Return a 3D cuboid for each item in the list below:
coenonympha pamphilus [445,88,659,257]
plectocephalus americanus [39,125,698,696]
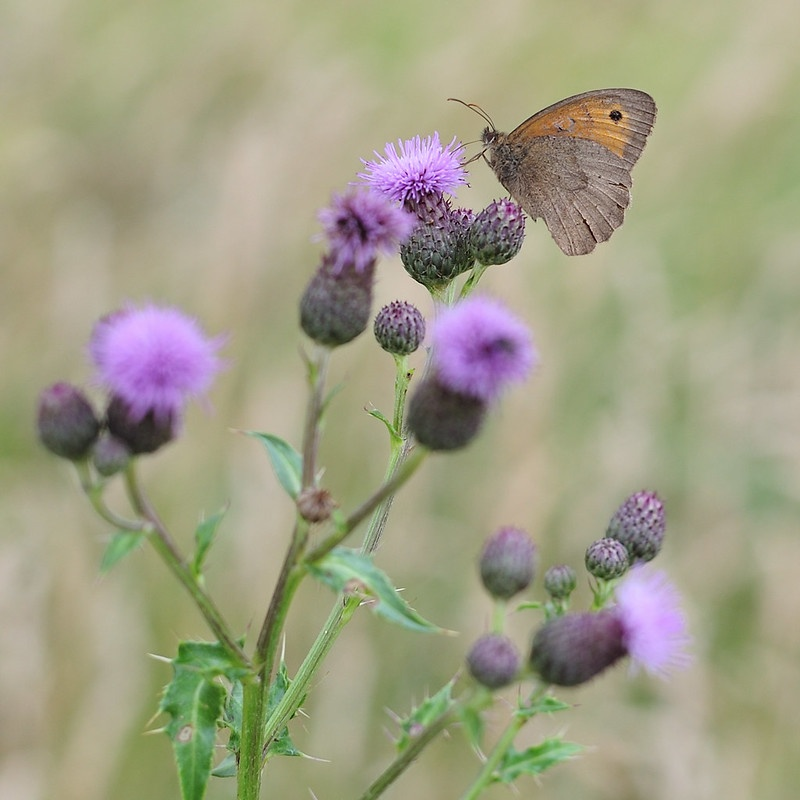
[{"bbox_3d":[0.910,-1.202,6.333,0.773,1.141,0.735,6,19,20],"label":"coenonympha pamphilus"},{"bbox_3d":[-0.037,-0.015,4.364,2.330,2.372,1.106,15,-11,-21],"label":"plectocephalus americanus"}]
